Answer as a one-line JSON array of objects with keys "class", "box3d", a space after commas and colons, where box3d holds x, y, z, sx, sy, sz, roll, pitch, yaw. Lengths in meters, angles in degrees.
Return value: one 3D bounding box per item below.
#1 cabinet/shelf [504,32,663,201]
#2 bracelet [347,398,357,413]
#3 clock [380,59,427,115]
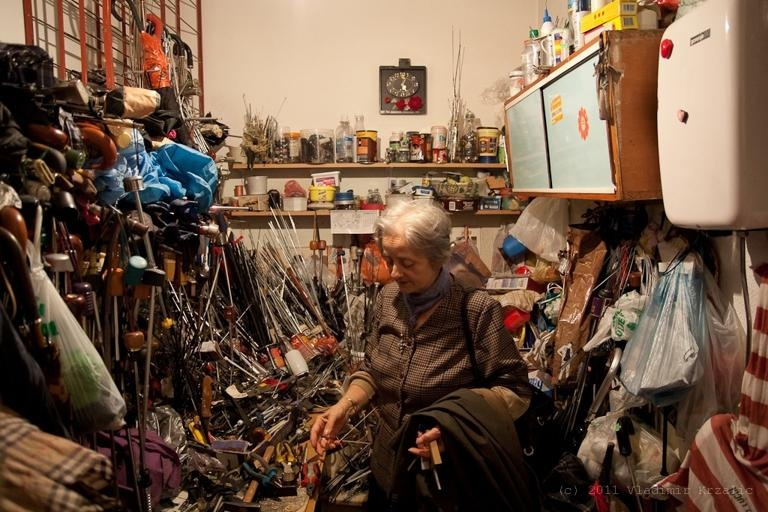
[{"class": "cabinet/shelf", "box3d": [1.102, -0.721, 3.204, 0.408, 0.719, 1.426, -11, 6, -6]}, {"class": "bracelet", "box3d": [-0.132, 0.612, 2.281, 0.034, 0.046, 0.039, -1, -9, -6]}, {"class": "clock", "box3d": [0.142, -1.328, 4.363, 0.381, 0.436, 0.047, 0, -3, 1]}]
